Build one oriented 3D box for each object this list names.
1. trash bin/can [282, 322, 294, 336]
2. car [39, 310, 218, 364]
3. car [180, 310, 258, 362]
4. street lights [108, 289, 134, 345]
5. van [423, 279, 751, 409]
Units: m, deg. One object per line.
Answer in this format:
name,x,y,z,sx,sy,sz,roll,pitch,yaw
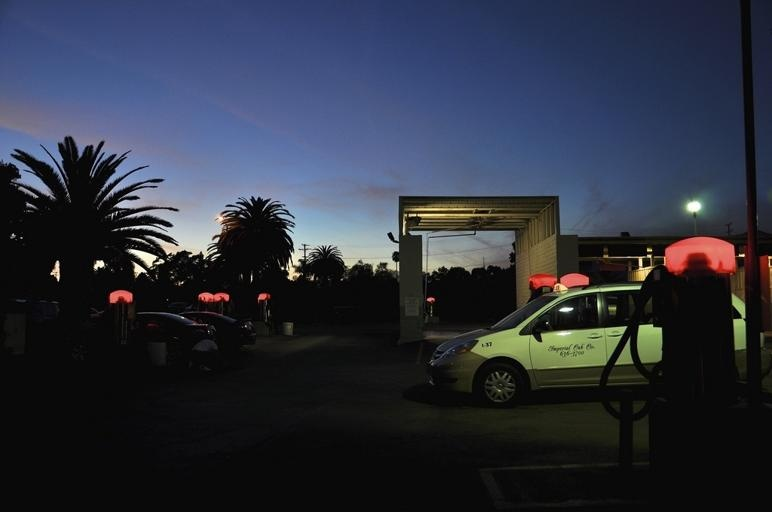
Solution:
trash bin/can,-5.320,3.977,32.396,0.619,0.718,0.624,1,-3,-17
car,-8.108,2.491,18.565,6.214,1.462,3.659,0,-3,36
car,-6.556,3.001,22.574,2.546,0.822,1.562,15,1,12
street lights,-9.139,2.143,20.388,0.784,1.502,0.583,-2,-2,29
van,3.811,1.821,12.015,5.804,2.414,2.532,1,-7,4
